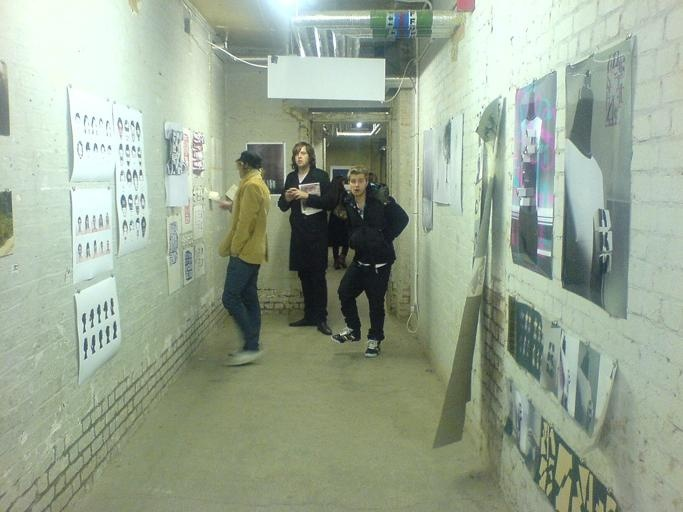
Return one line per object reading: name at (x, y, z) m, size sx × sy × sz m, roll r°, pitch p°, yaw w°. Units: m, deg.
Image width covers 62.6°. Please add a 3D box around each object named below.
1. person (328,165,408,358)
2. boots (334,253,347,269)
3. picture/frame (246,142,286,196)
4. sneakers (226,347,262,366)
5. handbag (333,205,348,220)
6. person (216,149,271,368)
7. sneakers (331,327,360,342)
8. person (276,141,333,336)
person at (0.239, 0.049, 5.219) m, size 0.427 × 1.724 × 0.704 m, roll -7°, pitch 12°, yaw -41°
boots at (-0.020, 0.098, 9.653) m, size 0.128 × 0.373 × 0.107 m, roll 1°, pitch -3°, yaw 2°
picture/frame at (-0.836, -1.031, 6.575) m, size 0.411 × 0.610 × 0.024 m, roll 2°, pitch 8°, yaw 15°
sneakers at (-0.851, 0.868, 4.928) m, size 0.226 × 0.090 × 0.136 m, roll 3°, pitch -8°, yaw -41°
handbag at (0.003, -0.588, 7.445) m, size 0.136 × 0.208 × 0.051 m, roll -6°, pitch -5°, yaw 43°
person at (-0.830, 0.018, 4.867) m, size 0.397 × 1.827 × 0.401 m, roll -1°, pitch 9°, yaw -10°
sneakers at (0.044, 0.766, 5.619) m, size 0.317 × 0.178 × 0.121 m, roll 2°, pitch 9°, yaw -4°
person at (-0.346, -0.201, 5.958) m, size 0.659 × 1.974 × 0.550 m, roll 4°, pitch 10°, yaw 22°
